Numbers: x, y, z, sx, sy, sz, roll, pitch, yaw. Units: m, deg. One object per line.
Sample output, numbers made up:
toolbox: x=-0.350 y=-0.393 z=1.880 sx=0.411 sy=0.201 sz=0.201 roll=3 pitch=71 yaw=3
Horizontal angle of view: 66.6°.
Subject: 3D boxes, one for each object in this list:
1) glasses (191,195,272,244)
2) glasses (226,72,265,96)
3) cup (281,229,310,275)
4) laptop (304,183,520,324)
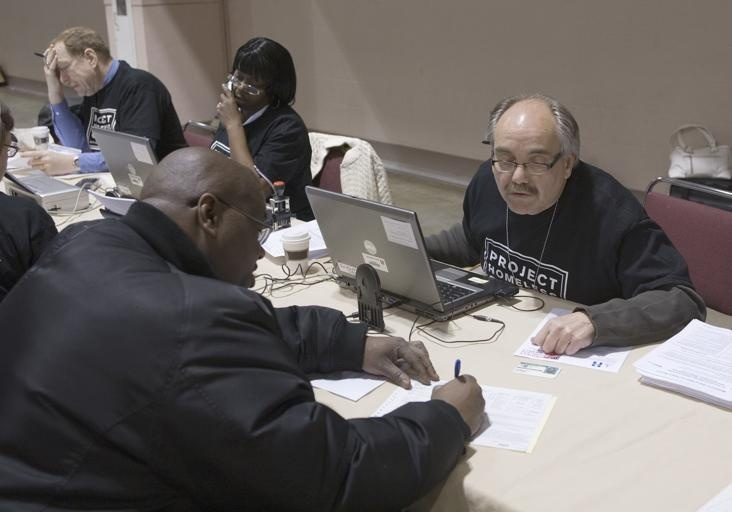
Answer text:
glasses: x=-0.342 y=-0.091 z=1.374 sx=0.145 sy=0.046 sz=0.138 roll=1 pitch=28 yaw=-34
glasses: x=-0.752 y=-1.018 z=3.311 sx=0.280 sy=0.127 sz=0.105 roll=19 pitch=30 yaw=39
cup: x=-0.289 y=-0.026 z=2.330 sx=0.150 sy=0.169 sz=0.152 roll=-3 pitch=13 yaw=1
laptop: x=0.149 y=-0.050 z=2.053 sx=0.541 sy=0.462 sz=0.624 roll=-22 pitch=30 yaw=-35
